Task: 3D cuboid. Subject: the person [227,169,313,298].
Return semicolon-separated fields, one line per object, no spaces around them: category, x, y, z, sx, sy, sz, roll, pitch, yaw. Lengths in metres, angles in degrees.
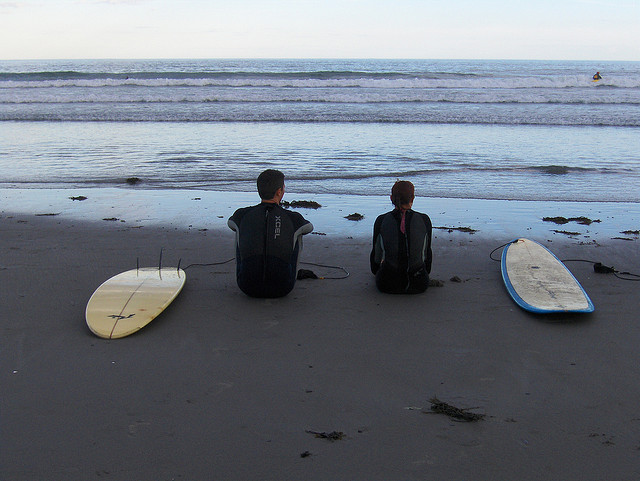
person;-0.522;-0.045;7.437;0.734;1.364;0.454;-10;21;-21

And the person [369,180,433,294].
person;0.885;-0.019;7.623;0.683;1.241;0.419;0;20;6
